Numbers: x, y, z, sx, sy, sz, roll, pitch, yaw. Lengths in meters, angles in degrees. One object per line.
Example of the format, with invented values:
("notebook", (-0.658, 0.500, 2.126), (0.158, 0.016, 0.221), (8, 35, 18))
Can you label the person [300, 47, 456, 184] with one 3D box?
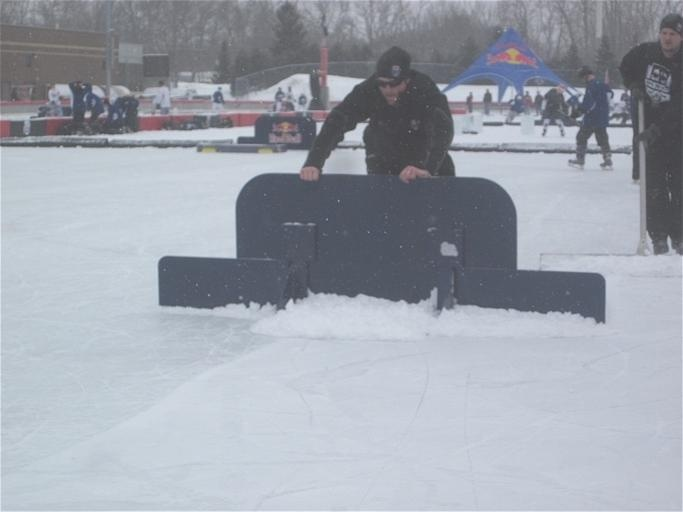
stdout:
("person", (0.425, -1.221, 11.311), (1.097, 1.164, 0.967), (4, 11, 24))

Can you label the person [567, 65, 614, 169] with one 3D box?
("person", (3.574, -1.940, 18.680), (0.599, 1.444, 1.208), (2, 10, 12))

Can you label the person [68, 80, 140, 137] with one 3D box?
("person", (-4.696, -2.957, 26.492), (1.445, 1.448, 0.899), (-3, 17, -8))

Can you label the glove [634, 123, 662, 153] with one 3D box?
("glove", (2.877, -1.121, 12.260), (0.184, 0.291, 0.192), (-20, 29, -41))

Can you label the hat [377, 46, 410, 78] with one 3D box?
("hat", (0.464, -1.627, 11.127), (0.191, 0.197, 0.310), (4, 36, 8))
